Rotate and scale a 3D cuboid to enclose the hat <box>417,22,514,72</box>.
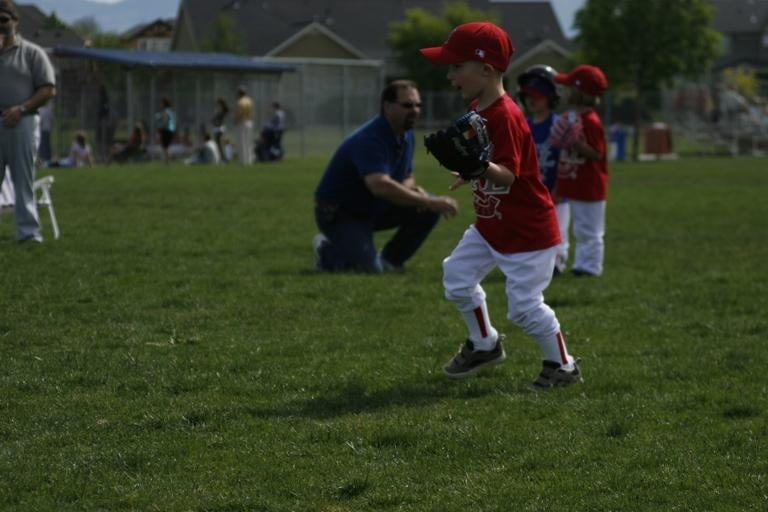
[{"bbox_3d":[0.541,-1.297,9.710,0.473,0.241,0.288,9,16,-5],"label":"hat"}]

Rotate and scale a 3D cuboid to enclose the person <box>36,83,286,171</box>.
[{"bbox_3d":[-1.396,-0.868,9.799,1.421,0.464,0.179,3,1,-13],"label":"person"}]

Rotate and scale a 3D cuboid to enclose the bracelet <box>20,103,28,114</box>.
[{"bbox_3d":[-2.222,-0.912,9.656,0.032,0.039,0.045,-2,-1,-2],"label":"bracelet"}]

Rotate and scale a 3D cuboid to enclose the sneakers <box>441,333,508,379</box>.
[{"bbox_3d":[0.559,0.633,10.024,0.488,0.215,0.167,-22,21,-10],"label":"sneakers"}]

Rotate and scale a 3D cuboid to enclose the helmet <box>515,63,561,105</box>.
[{"bbox_3d":[1.278,-1.371,12.389,0.362,0.293,0.268,8,-1,-26],"label":"helmet"}]

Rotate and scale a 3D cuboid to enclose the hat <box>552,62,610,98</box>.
[{"bbox_3d":[1.508,-1.353,12.096,0.369,0.187,0.236,20,35,21],"label":"hat"}]

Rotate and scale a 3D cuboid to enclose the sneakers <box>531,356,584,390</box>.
[{"bbox_3d":[1.090,0.764,9.838,0.379,0.167,0.135,-5,3,-14],"label":"sneakers"}]

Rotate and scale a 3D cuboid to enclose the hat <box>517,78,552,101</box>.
[{"bbox_3d":[1.189,-1.317,12.252,0.213,0.069,0.151,5,1,-10],"label":"hat"}]

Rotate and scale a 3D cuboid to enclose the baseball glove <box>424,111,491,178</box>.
[{"bbox_3d":[0.490,-0.674,9.344,0.331,0.212,0.409,36,-9,13],"label":"baseball glove"}]
